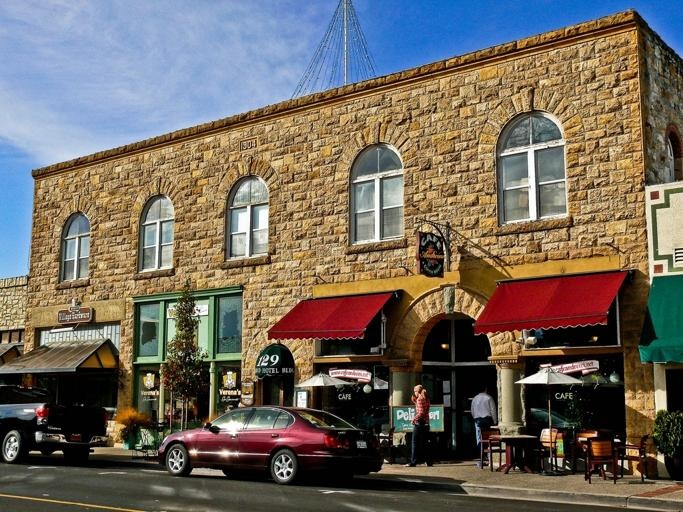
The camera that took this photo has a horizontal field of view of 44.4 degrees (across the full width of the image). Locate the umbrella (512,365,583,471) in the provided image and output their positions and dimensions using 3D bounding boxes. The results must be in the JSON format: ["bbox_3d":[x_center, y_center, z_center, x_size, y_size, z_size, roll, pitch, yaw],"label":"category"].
[{"bbox_3d":[5.295,4.014,20.925,1.557,2.539,2.103,-3,-14,13],"label":"umbrella"}]

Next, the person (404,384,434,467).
[{"bbox_3d":[2.138,4.544,22.581,0.580,2.152,0.996,-2,-14,7],"label":"person"}]

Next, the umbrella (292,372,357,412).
[{"bbox_3d":[-0.759,3.922,25.072,1.301,0.944,1.342,1,-3,19],"label":"umbrella"}]
